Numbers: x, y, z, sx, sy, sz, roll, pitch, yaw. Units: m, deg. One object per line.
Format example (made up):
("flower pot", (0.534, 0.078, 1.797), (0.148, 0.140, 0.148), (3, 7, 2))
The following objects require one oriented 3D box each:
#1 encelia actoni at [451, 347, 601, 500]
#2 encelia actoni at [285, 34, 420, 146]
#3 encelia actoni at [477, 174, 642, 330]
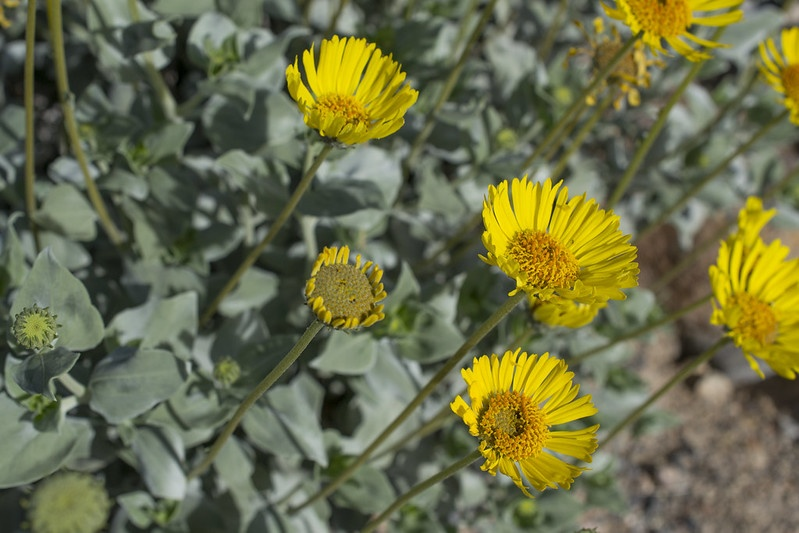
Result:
("encelia actoni", (0.214, 0.259, 1.529), (0.249, 0.170, 0.232), (37, 77, 12))
("encelia actoni", (-0.093, -0.300, 1.565), (0.205, 0.076, 0.200), (45, 52, 16))
("encelia actoni", (0.295, -0.030, 1.617), (0.311, 0.326, 0.138), (38, 79, -31))
